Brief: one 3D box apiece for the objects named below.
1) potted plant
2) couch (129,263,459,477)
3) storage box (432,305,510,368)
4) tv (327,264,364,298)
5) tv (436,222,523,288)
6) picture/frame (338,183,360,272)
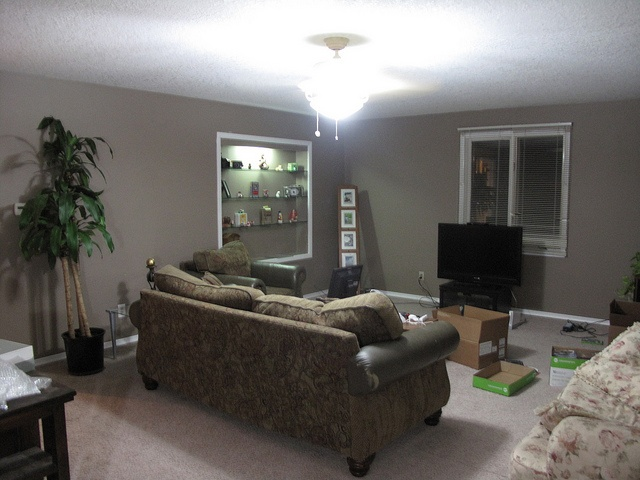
[{"bbox_3d":[-2.491,0.046,4.728,0.866,2.518,0.926,-5,11,-24],"label":"potted plant"},{"bbox_3d":[-0.294,0.879,3.729,2.348,1.204,0.769,5,12,29],"label":"couch"},{"bbox_3d":[1.545,0.974,5.012,0.569,0.539,0.706,-3,7,-37],"label":"storage box"},{"bbox_3d":[0.298,0.507,5.787,0.406,0.423,0.140,-10,24,-42],"label":"tv"},{"bbox_3d":[2.152,0.203,6.267,0.824,0.652,0.090,3,5,36],"label":"tv"},{"bbox_3d":[0.445,-0.235,7.362,0.317,1.221,0.345,-1,10,-1],"label":"picture/frame"}]
